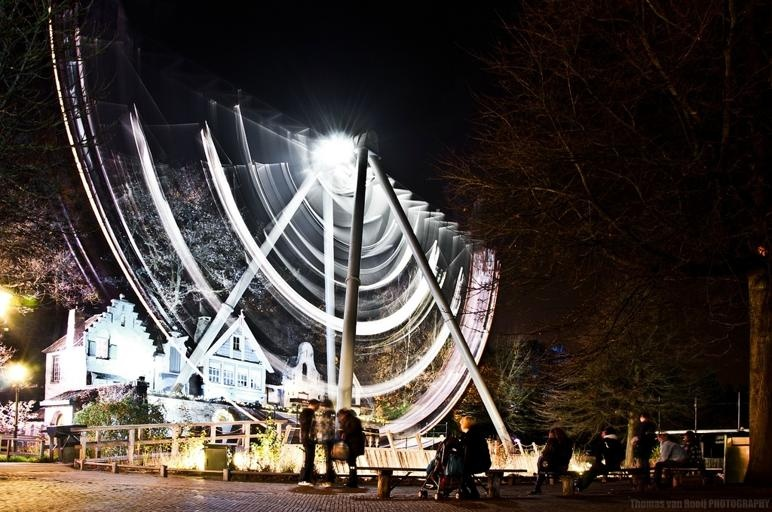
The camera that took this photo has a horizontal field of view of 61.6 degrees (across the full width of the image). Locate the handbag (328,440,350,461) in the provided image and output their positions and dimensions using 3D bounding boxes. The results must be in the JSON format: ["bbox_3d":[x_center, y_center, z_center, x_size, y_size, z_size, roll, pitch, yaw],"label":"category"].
[{"bbox_3d":[-0.947,4.073,13.557,0.359,0.406,0.370,0,-6,4],"label":"handbag"}]

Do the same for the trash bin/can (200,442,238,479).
[{"bbox_3d":[-4.125,5.057,16.020,0.781,0.818,1.774,7,-18,-14],"label":"trash bin/can"}]

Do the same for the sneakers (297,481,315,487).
[{"bbox_3d":[-1.708,4.869,13.858,0.331,0.135,0.139,-9,-15,31],"label":"sneakers"}]

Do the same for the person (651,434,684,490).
[{"bbox_3d":[6.744,4.832,15.358,0.725,1.160,1.475,-5,-18,23],"label":"person"}]

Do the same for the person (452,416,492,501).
[{"bbox_3d":[1.721,3.884,12.553,0.565,1.526,0.945,0,-16,8],"label":"person"}]

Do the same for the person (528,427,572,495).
[{"bbox_3d":[3.862,4.740,15.117,0.870,1.508,2.539,-2,-18,14],"label":"person"}]
